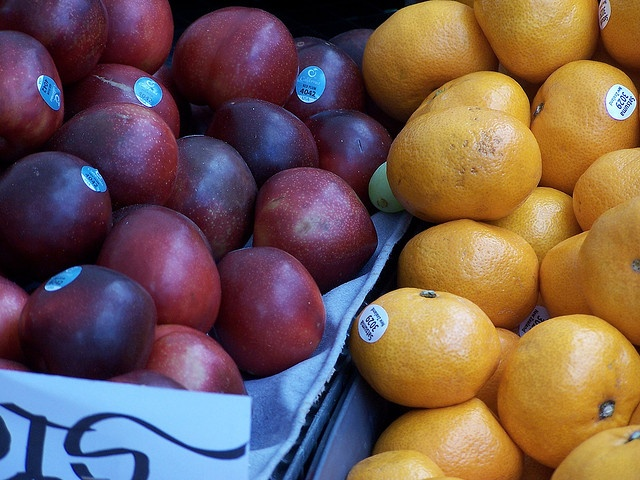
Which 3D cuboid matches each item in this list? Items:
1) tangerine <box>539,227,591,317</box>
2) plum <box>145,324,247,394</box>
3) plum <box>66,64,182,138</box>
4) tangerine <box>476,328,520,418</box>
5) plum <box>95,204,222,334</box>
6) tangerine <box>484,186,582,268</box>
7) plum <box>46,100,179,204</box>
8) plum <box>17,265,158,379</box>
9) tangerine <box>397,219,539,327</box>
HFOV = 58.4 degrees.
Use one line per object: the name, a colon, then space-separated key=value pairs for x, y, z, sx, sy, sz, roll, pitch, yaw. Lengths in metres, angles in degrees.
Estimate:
tangerine: x=0.488 y=0.075 z=1.099 sx=0.108 sy=0.119 sz=0.164 roll=-5 pitch=86 yaw=-23
plum: x=-0.202 y=0.155 z=0.914 sx=0.114 sy=0.115 sz=0.150 roll=14 pitch=20 yaw=38
plum: x=-0.417 y=-0.315 z=1.258 sx=0.178 sy=0.160 sz=0.160 roll=16 pitch=57 yaw=2
tangerine: x=0.322 y=0.239 z=1.080 sx=0.072 sy=0.170 sz=0.072 roll=17 pitch=27 yaw=28
plum: x=-0.276 y=0.016 z=1.023 sx=0.190 sy=0.203 sz=0.185 roll=-3 pitch=23 yaw=-8
tangerine: x=0.478 y=-0.028 z=1.263 sx=0.136 sy=0.163 sz=0.151 roll=-4 pitch=2 yaw=5
plum: x=-0.375 y=-0.177 z=1.093 sx=0.181 sy=0.179 sz=0.161 roll=3 pitch=28 yaw=6
plum: x=-0.315 y=0.115 z=0.787 sx=0.170 sy=0.151 sz=0.166 roll=-9 pitch=26 yaw=-25
tangerine: x=0.293 y=0.056 z=1.149 sx=0.195 sy=0.197 sz=0.220 roll=7 pitch=0 yaw=-31
